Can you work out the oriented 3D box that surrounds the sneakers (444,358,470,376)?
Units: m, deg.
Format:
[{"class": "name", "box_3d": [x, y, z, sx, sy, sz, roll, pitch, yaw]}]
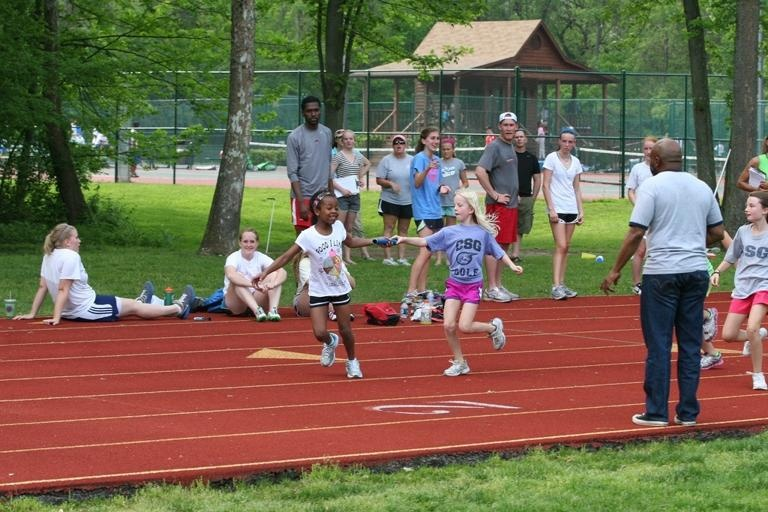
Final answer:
[{"class": "sneakers", "box_3d": [0.862, 1.313, 11.718, 0.358, 0.155, 0.142, -2, 4, -19]}]

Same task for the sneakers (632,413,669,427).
[{"class": "sneakers", "box_3d": [2.672, 1.655, 9.973, 0.329, 0.112, 0.135, 4, 1, 25]}]

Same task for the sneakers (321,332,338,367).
[{"class": "sneakers", "box_3d": [-0.631, 1.093, 11.574, 0.183, 0.430, 0.211, 5, 17, 2]}]

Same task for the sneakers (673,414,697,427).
[{"class": "sneakers", "box_3d": [3.048, 1.654, 10.017, 0.220, 0.088, 0.166, 3, 11, 15]}]

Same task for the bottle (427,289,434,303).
[{"class": "bottle", "box_3d": [0.692, 0.609, 14.976, 0.156, 0.251, 0.400, -1, -4, 1]}]

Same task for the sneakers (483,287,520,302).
[{"class": "sneakers", "box_3d": [1.825, 0.624, 15.848, 0.363, 0.114, 0.284, 4, 6, 21]}]

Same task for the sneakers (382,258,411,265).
[{"class": "sneakers", "box_3d": [0.206, 0.125, 19.144, 0.539, 0.200, 0.176, -1, 2, 23]}]

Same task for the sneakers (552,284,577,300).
[{"class": "sneakers", "box_3d": [2.895, 0.596, 15.975, 0.236, 0.126, 0.337, -4, 3, -35]}]

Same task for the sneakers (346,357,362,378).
[{"class": "sneakers", "box_3d": [-0.343, 1.300, 11.516, 0.178, 0.224, 0.188, 0, 11, -4]}]

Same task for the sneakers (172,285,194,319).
[{"class": "sneakers", "box_3d": [-2.943, 0.694, 14.594, 0.245, 0.524, 0.192, 33, -32, -33]}]

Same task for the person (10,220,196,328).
[{"class": "person", "box_3d": [-3.914, 0.298, 14.333, 2.456, 1.135, 1.071, 5, 1, -29]}]

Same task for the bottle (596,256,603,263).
[{"class": "bottle", "box_3d": [4.380, 0.070, 20.099, 0.142, 0.094, 0.177, 1, -7, 10]}]
